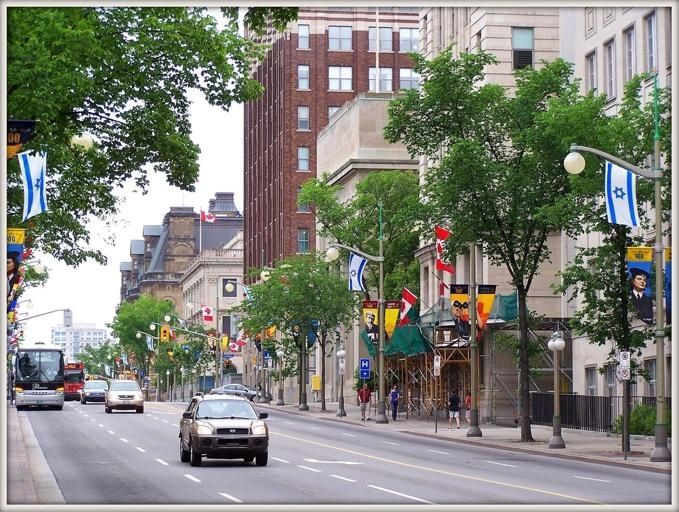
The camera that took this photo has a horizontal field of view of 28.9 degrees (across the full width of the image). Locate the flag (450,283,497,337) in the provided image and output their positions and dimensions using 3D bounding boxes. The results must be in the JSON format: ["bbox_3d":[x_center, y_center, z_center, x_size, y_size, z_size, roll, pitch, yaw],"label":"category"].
[{"bbox_3d":[5.697,2.194,55.623,1.011,2.681,1.645,2,-9,-14],"label":"flag"}]

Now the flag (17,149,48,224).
[{"bbox_3d":[-9.451,-2.192,40.376,0.833,2.167,0.988,2,-7,-16],"label":"flag"}]

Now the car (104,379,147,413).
[{"bbox_3d":[-12.064,8.016,73.757,2.025,1.972,2.577,1,-8,-12],"label":"car"}]
